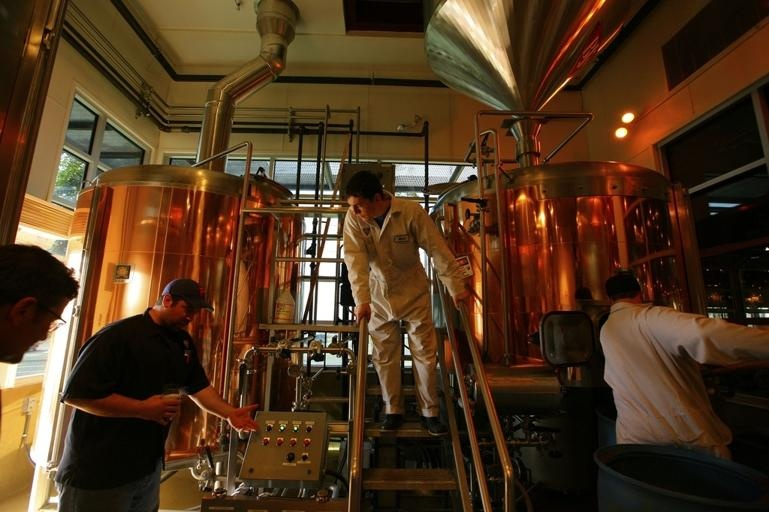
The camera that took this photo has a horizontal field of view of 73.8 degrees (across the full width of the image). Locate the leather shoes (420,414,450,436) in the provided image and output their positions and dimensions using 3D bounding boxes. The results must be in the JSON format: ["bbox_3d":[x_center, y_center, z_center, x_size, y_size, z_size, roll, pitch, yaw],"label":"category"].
[{"bbox_3d":[0.428,1.382,4.173,0.100,0.110,0.252,3,-14,-16],"label":"leather shoes"}]

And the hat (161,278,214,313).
[{"bbox_3d":[-1.486,0.292,3.938,0.344,0.194,0.243,11,-7,-1],"label":"hat"}]

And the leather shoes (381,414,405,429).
[{"bbox_3d":[0.077,1.366,4.220,0.191,0.127,0.098,3,-14,-14],"label":"leather shoes"}]

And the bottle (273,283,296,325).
[{"bbox_3d":[-0.990,0.524,5.239,0.162,0.360,0.301,-12,-18,38],"label":"bottle"}]

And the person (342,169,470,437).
[{"bbox_3d":[0.144,0.384,4.259,0.967,2.098,0.708,2,-15,-9],"label":"person"}]
